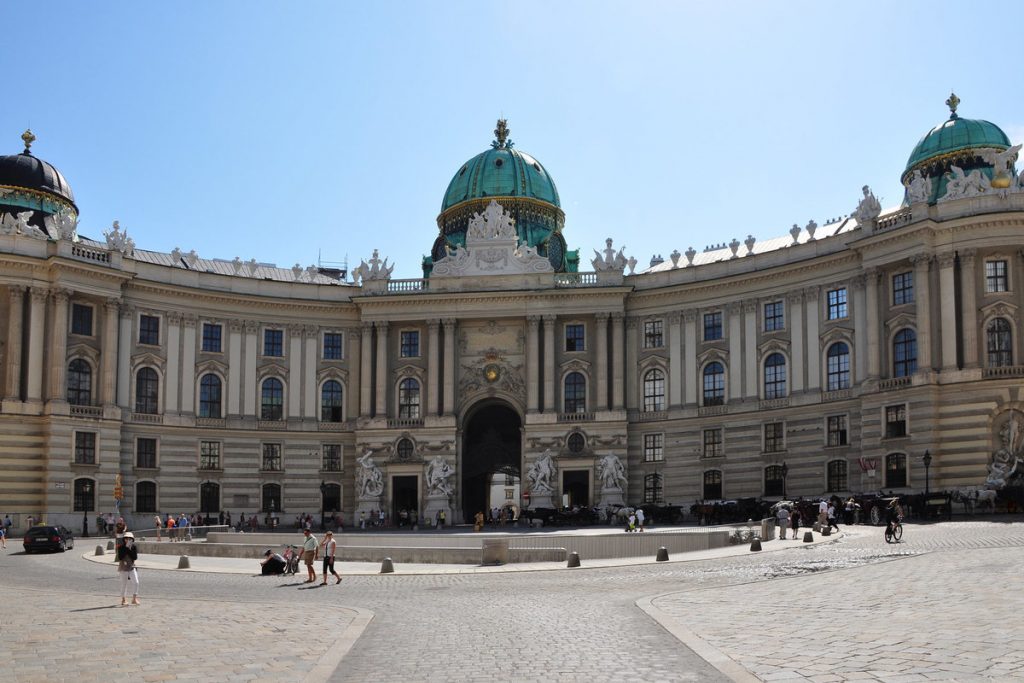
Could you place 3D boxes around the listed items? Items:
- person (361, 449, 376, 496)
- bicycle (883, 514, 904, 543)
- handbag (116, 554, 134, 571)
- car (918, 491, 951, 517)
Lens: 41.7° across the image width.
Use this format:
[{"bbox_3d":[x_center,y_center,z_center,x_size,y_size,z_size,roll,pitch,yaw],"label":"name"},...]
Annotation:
[{"bbox_3d":[-10.784,10.024,102.210,1.161,3.059,0.568,-1,-12,-5],"label":"person"},{"bbox_3d":[19.441,9.555,68.547,0.831,0.978,1.684,-16,-19,41],"label":"bicycle"},{"bbox_3d":[-15.230,8.694,53.156,0.611,0.509,0.468,-3,-9,6],"label":"handbag"},{"bbox_3d":[25.255,9.771,80.787,1.197,1.258,1.890,-10,-20,35],"label":"car"}]
